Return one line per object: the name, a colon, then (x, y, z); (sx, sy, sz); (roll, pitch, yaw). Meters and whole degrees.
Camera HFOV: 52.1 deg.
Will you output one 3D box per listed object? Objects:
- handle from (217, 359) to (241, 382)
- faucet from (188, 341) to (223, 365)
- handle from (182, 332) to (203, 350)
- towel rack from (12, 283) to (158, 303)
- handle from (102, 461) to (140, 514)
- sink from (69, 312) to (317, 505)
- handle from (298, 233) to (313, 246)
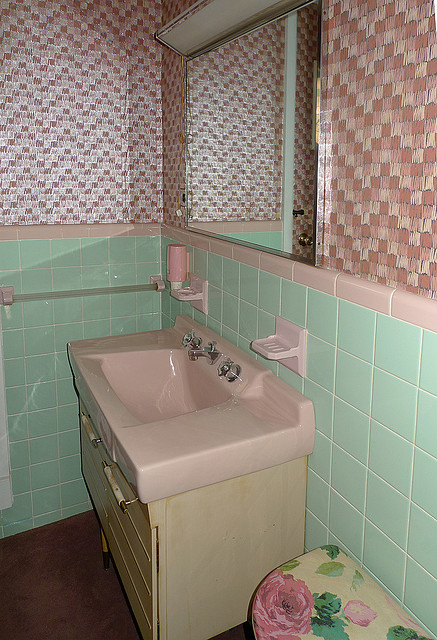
handle: (0.030, 0.141, 1.263); (0.021, 0.046, 0.061); (32, 6, -34)
faucet: (-0.042, 0.090, 1.392); (0.067, 0.062, 0.074); (-1, 5, -7)
handle: (-0.089, 0.068, 1.507); (0.047, 0.058, 0.024); (16, -3, 29)
towel rack: (-0.571, -0.115, 1.838); (0.415, 0.071, 0.046); (-5, 9, -26)
handle: (-0.244, 0.388, 1.052); (0.083, 0.125, 0.150); (-3, 14, -20)
sink: (-0.150, 0.241, 1.348); (0.439, 0.412, 0.888); (-4, 13, -27)
handle: (0.203, -0.187, 1.040); (0.007, 0.029, 0.057); (-3, 11, -17)
